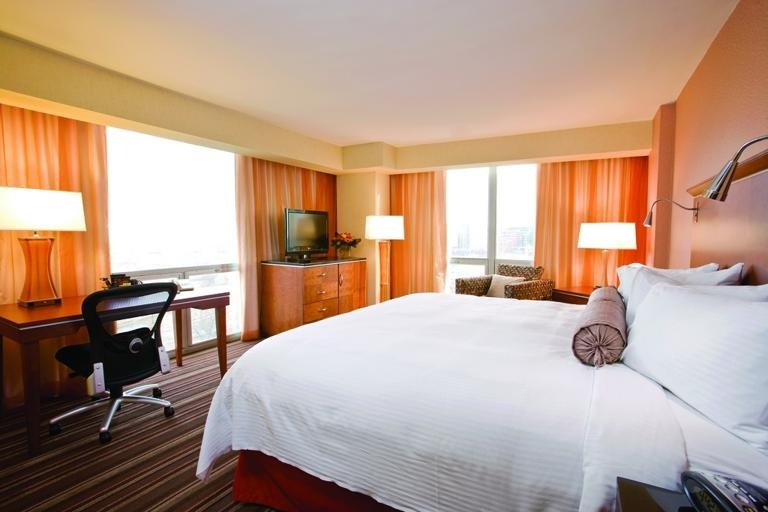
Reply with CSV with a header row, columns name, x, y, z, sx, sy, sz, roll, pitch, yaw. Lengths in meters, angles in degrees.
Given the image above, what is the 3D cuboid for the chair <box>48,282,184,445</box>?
name,x,y,z,sx,sy,sz,roll,pitch,yaw
chair,-2.448,0.841,4.492,1.020,1.384,0.935,6,11,13

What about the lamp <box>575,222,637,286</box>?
name,x,y,z,sx,sy,sz,roll,pitch,yaw
lamp,2.745,-0.054,5.952,0.785,0.916,0.320,4,8,30

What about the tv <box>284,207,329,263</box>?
name,x,y,z,sx,sy,sz,roll,pitch,yaw
tv,-1.098,-0.297,6.815,0.184,0.714,0.846,5,6,33

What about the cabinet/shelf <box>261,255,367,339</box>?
name,x,y,z,sx,sy,sz,roll,pitch,yaw
cabinet/shelf,-0.939,0.529,7.053,0.792,0.993,1.490,3,6,31

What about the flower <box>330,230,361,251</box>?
name,x,y,z,sx,sy,sz,roll,pitch,yaw
flower,-0.588,-0.247,7.275,0.321,0.196,0.318,1,4,14

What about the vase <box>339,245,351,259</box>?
name,x,y,z,sx,sy,sz,roll,pitch,yaw
vase,-0.575,-0.076,7.351,0.187,0.200,0.177,2,-5,-42
